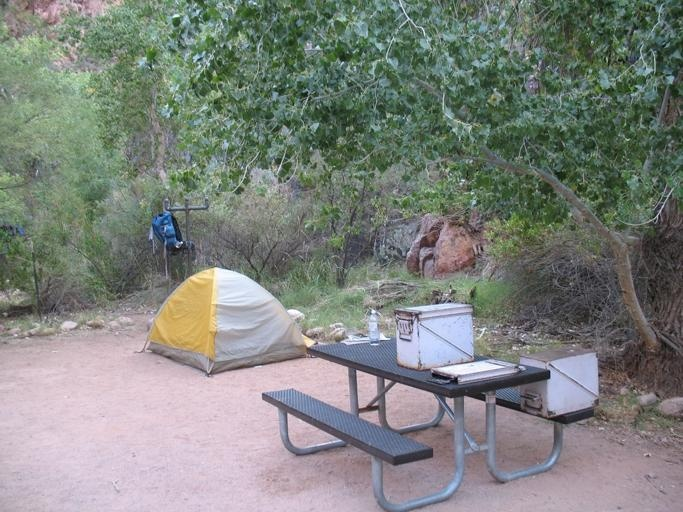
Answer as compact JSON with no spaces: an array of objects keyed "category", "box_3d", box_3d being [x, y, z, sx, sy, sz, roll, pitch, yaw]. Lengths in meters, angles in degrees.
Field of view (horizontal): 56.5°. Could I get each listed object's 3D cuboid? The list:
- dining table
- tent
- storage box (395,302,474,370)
[{"category":"dining table","box_3d":[0.677,1.393,6.252,1.685,1.190,2.624,0,7,-26]},{"category":"tent","box_3d":[-1.928,0.998,10.350,2.038,1.712,1.658,-1,9,-32]},{"category":"storage box","box_3d":[0.890,0.756,6.034,0.705,0.554,0.428,-4,1,-34]}]
